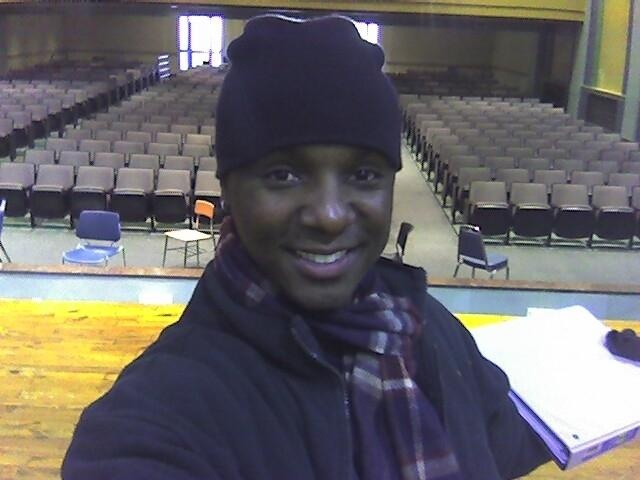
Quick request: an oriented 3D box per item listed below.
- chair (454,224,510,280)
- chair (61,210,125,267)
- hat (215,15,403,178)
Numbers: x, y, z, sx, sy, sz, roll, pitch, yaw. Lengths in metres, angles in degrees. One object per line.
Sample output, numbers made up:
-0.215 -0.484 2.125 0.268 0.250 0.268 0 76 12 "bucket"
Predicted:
1.636 0.131 5.438 0.335 0.640 0.307 -16 24 -28 "chair"
-2.192 -0.005 5.242 0.366 0.729 0.460 3 19 -5 "chair"
-0.015 -0.245 0.897 0.230 0.220 0.252 8 16 42 "hat"
